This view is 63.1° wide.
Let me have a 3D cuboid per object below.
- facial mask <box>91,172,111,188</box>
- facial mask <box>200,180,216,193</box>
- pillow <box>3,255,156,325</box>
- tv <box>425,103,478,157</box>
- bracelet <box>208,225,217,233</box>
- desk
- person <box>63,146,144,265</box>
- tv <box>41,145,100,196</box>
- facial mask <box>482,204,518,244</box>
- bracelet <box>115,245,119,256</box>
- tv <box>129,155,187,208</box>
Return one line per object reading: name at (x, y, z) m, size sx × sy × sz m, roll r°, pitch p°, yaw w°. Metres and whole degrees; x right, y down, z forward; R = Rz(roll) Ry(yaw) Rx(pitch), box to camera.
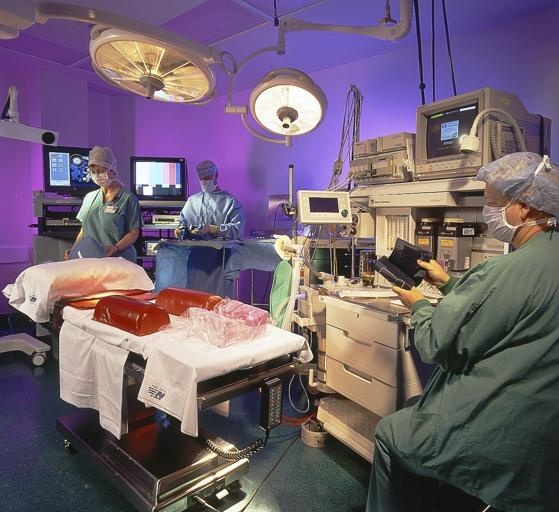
facial mask at (-1.237, -0.527, 3.159) m, size 0.081 × 0.072 × 0.106 m, roll 0°, pitch 28°, yaw 9°
facial mask at (-0.619, -0.613, 3.983) m, size 0.087 × 0.086 × 0.093 m, roll 0°, pitch 23°, yaw -7°
pillow at (-1.082, 0.140, 2.543) m, size 0.554 × 0.180 × 0.456 m, roll -4°, pitch 7°, yaw -43°
tv at (0.801, -0.594, 2.172) m, size 0.064 × 0.243 × 0.304 m, roll -6°, pitch 14°, yaw -23°
bracelet at (-0.530, -0.212, 3.644) m, size 0.070 × 0.075 × 0.047 m, roll -1°, pitch 8°, yaw -35°
desk at (-0.564, 0.027, 3.870) m, size 0.961 × 0.652 × 0.770 m, roll 6°, pitch 22°, yaw -14°
person at (-1.268, -0.317, 3.105) m, size 0.524 × 0.830 × 0.584 m, roll -1°, pitch 13°, yaw 2°
tv at (-2.016, -0.800, 4.341) m, size 0.489 × 0.504 × 0.098 m, roll -1°, pitch 12°, yaw 8°
facial mask at (0.709, -0.101, 1.492) m, size 0.106 × 0.073 × 0.092 m, roll 11°, pitch 9°, yaw 26°
bracelet at (-1.108, -0.032, 3.105) m, size 0.040 × 0.061 × 0.040 m, roll 0°, pitch 4°, yaw -11°
tv at (-1.195, -0.725, 4.715) m, size 0.707 × 0.705 × 0.408 m, roll 0°, pitch -1°, yaw -8°
